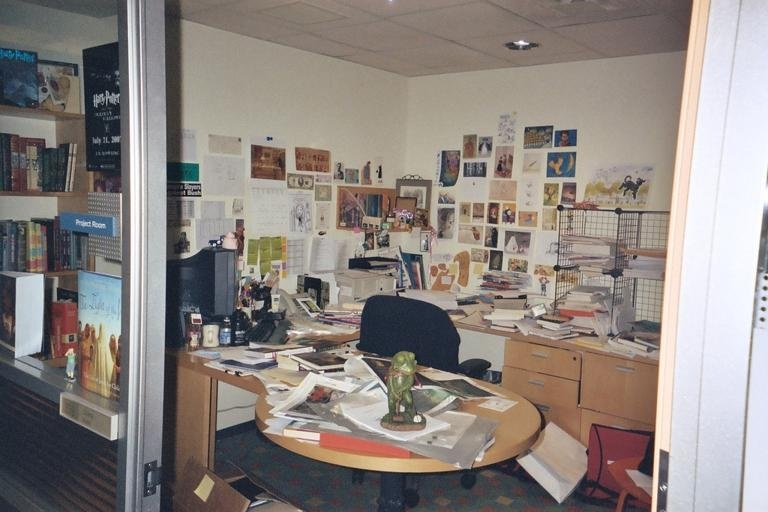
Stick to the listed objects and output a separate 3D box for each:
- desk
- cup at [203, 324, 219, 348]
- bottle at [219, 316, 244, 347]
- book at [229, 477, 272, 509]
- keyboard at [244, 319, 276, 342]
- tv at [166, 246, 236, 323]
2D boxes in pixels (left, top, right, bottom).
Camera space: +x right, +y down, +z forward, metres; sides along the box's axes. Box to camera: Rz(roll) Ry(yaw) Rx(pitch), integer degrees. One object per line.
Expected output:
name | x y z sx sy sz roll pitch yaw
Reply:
desk | 0.494 0.767 3.029 1.431 0.653 1.354 10 15 37
cup | -0.914 0.417 3.005 0.080 0.117 0.057 0 12 -19
bottle | -0.820 0.397 3.057 0.086 0.145 0.129 14 15 43
book | -0.640 1.077 2.684 0.171 0.039 0.161 9 2 43
keyboard | -0.689 0.419 3.205 0.148 0.047 0.344 3 10 -7
tv | -0.971 0.148 3.068 0.474 0.446 0.253 1 5 2
